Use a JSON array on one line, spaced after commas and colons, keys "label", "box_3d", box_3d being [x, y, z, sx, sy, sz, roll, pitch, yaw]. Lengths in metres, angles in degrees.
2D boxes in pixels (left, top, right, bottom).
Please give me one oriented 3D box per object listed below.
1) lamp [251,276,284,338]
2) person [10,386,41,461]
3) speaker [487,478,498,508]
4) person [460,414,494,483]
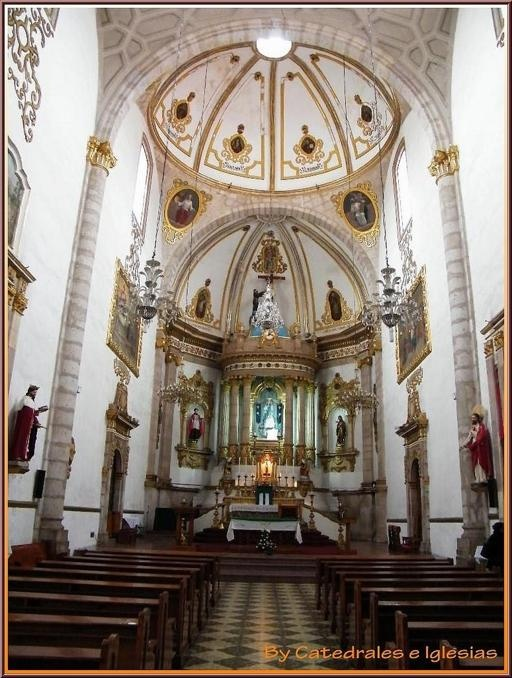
[{"label": "lamp", "box_3d": [0.450, -1.384, 20.343, 1.353, 3.095, 1.451, 9, -24, -12]}, {"label": "person", "box_3d": [-3.371, 1.234, 6.972, 0.328, 1.160, 0.642, 7, -18, -20]}, {"label": "speaker", "box_3d": [3.836, 2.507, 7.688, 0.119, 0.460, 0.418, -5, -18, 19]}, {"label": "person", "box_3d": [3.723, 1.924, 7.905, 0.250, 0.973, 0.508, 5, -17, -11]}]
